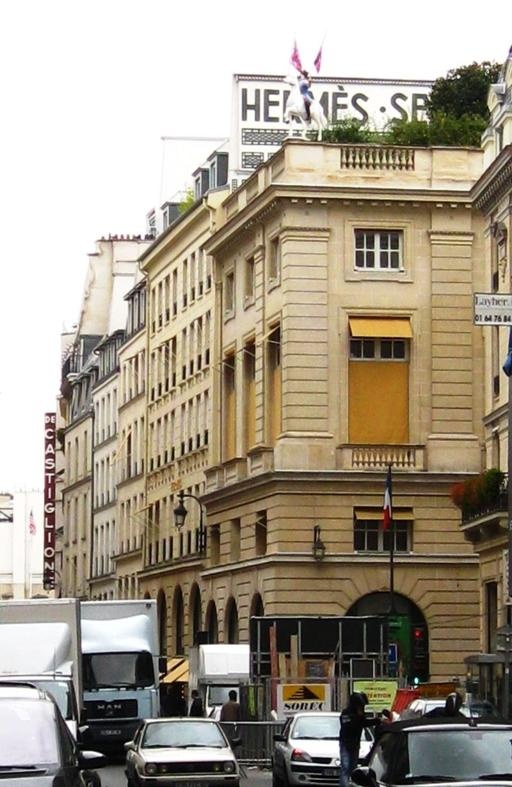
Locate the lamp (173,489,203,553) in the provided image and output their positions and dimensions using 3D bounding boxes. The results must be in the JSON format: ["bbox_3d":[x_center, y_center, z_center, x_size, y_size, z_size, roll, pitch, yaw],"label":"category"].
[{"bbox_3d":[-2.016,4.213,68.431,0.995,2.793,0.624,-5,-42,3],"label":"lamp"}]

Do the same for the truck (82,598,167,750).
[{"bbox_3d":[-2.608,5.560,43.480,1.069,2.358,3.696,0,-8,-3],"label":"truck"}]

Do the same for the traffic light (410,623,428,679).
[{"bbox_3d":[4.309,6.933,57.761,0.499,1.473,0.572,-2,-10,6],"label":"traffic light"}]
